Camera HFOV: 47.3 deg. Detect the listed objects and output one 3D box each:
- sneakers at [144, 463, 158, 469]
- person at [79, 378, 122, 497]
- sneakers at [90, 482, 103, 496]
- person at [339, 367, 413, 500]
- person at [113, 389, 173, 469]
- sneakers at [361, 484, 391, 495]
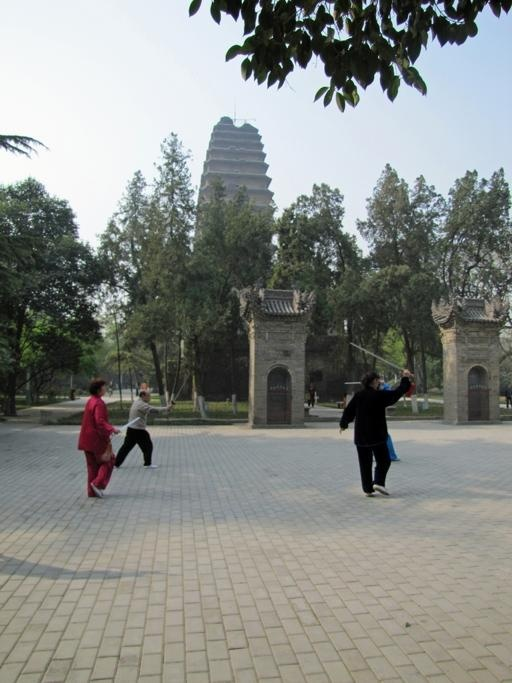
[{"bbox_3d":[-2.082,2.481,11.633,0.261,0.105,0.094,-1,2,-6],"label":"sneakers"},{"bbox_3d":[-2.368,1.450,8.816,0.554,1.735,0.946,1,-3,-16],"label":"person"},{"bbox_3d":[-2.345,2.196,8.594,0.147,0.214,0.212,2,-4,-29],"label":"sneakers"},{"bbox_3d":[1.846,1.398,8.837,0.921,1.874,0.740,1,-3,-21],"label":"person"},{"bbox_3d":[-2.353,1.736,11.428,0.744,1.557,0.942,1,-3,-14],"label":"person"},{"bbox_3d":[1.829,2.248,8.761,0.442,0.191,0.163,0,-4,-26],"label":"sneakers"}]
